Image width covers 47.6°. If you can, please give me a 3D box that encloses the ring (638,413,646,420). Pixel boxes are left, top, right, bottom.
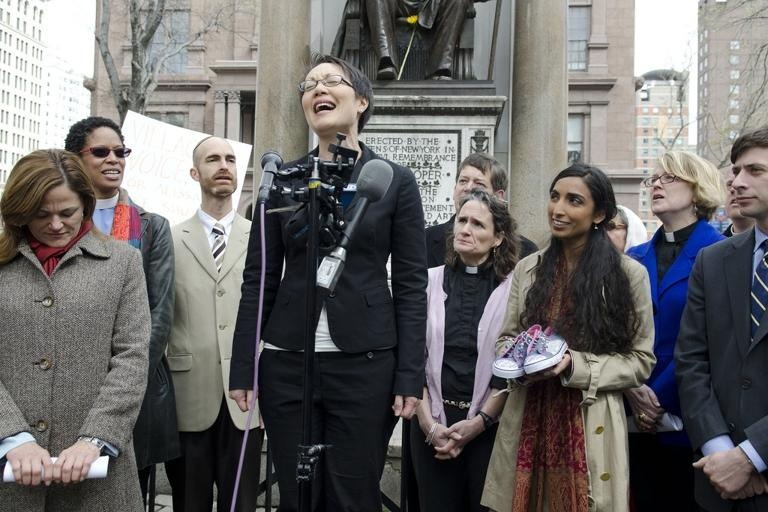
[{"bbox_3d":[1.732,1.089,5.865,0.026,0.063,0.022,26,55,32],"label":"ring"}]

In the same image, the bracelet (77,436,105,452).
[{"bbox_3d":[-1.687,1.088,5.020,0.130,0.122,0.078,13,14,-4],"label":"bracelet"}]

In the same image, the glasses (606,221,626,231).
[{"bbox_3d":[1.701,-0.221,6.422,0.128,0.044,0.124,6,-6,-14],"label":"glasses"}]

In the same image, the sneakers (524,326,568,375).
[{"bbox_3d":[0.997,0.603,5.409,0.156,0.156,0.392,-16,13,38],"label":"sneakers"}]

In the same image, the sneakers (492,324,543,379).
[{"bbox_3d":[0.829,0.604,5.463,0.182,0.193,0.504,8,14,32],"label":"sneakers"}]

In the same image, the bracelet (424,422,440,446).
[{"bbox_3d":[0.323,1.214,5.892,0.045,0.123,0.115,24,-8,10],"label":"bracelet"}]

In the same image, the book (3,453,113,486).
[{"bbox_3d":[-1.900,1.242,5.018,0.596,0.164,0.180,0,3,-12],"label":"book"}]

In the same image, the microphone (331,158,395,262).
[{"bbox_3d":[-0.070,-0.342,5.064,0.203,0.781,0.216,24,-15,10],"label":"microphone"}]

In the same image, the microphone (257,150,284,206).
[{"bbox_3d":[-0.673,-0.464,5.134,0.142,0.312,0.357,0,3,-8],"label":"microphone"}]

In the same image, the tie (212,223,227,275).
[{"bbox_3d":[-1.231,-0.051,6.469,0.082,0.387,0.055,2,-26,-6],"label":"tie"}]

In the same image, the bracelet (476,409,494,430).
[{"bbox_3d":[0.686,1.109,5.872,0.123,0.061,0.097,43,11,28],"label":"bracelet"}]
